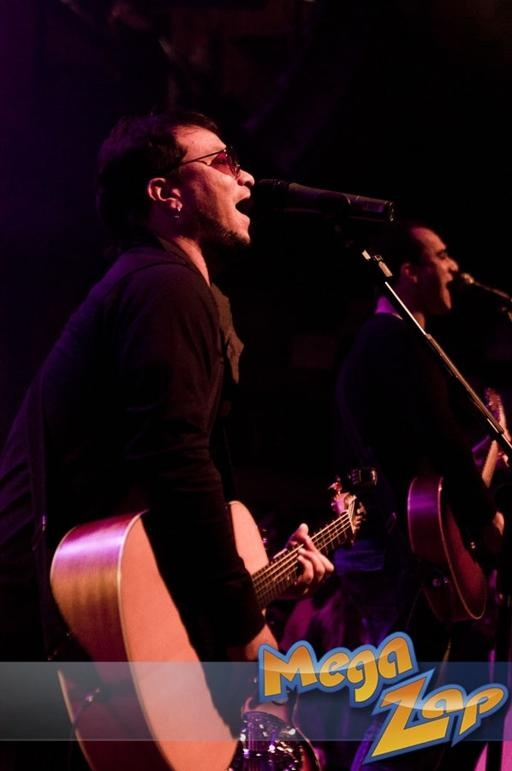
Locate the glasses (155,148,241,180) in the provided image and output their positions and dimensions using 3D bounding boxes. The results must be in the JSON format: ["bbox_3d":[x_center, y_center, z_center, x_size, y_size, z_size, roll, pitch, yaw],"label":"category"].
[{"bbox_3d":[-0.131,-0.574,1.898,0.124,0.043,0.101,-13,8,1],"label":"glasses"}]
